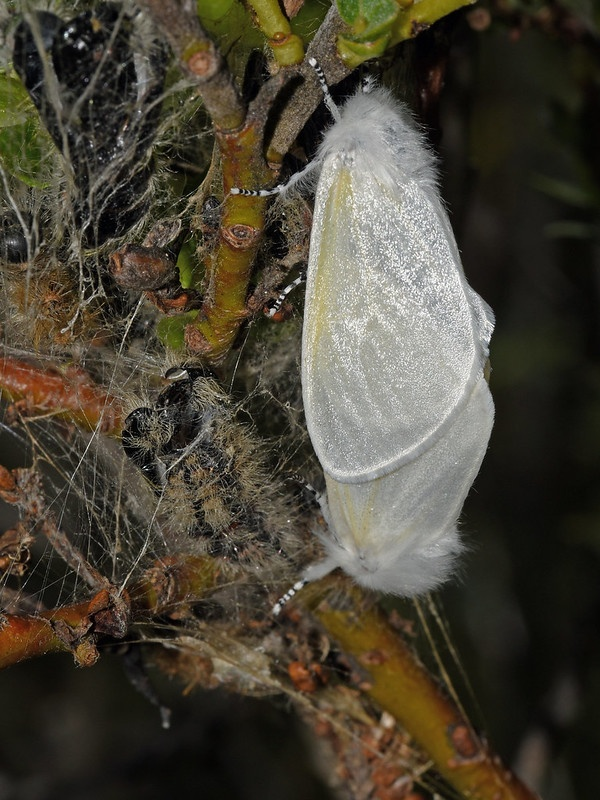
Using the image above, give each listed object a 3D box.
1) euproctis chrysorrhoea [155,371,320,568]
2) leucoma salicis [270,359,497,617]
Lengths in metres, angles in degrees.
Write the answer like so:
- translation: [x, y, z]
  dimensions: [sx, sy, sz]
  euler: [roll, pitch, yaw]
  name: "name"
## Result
- translation: [-0.056, 0.069, 0.833]
  dimensions: [0.134, 0.195, 0.065]
  euler: [-34, 7, 23]
  name: "euproctis chrysorrhoea"
- translation: [0.087, 0.069, 0.795]
  dimensions: [0.228, 0.220, 0.129]
  euler: [3, 30, 5]
  name: "leucoma salicis"
